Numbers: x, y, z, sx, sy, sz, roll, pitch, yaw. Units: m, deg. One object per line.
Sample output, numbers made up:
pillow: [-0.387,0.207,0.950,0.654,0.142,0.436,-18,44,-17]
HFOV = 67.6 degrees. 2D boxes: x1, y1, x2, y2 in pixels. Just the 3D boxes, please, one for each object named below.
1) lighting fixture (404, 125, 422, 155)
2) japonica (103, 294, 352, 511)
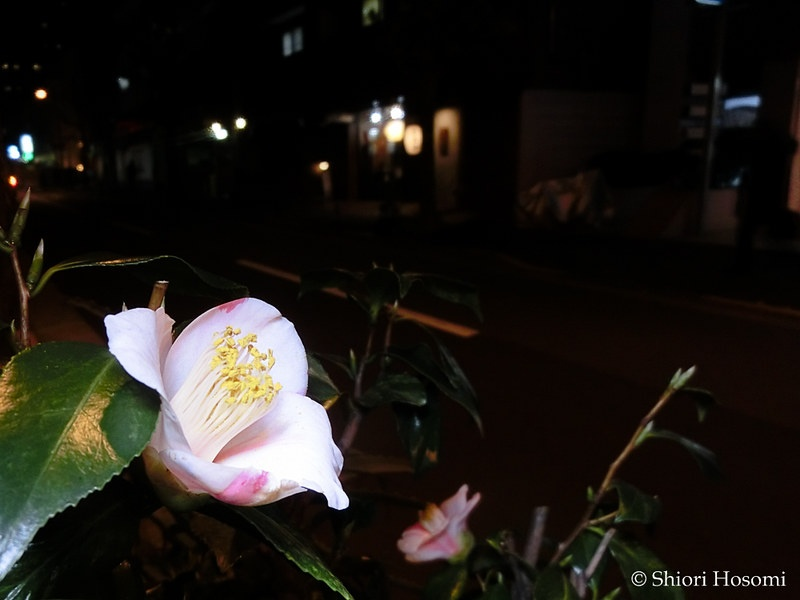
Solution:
lighting fixture: [0.057,-0.641,2.406,0.036,0.111,0.117,-1,44,-13]
japonica: [-0.124,0.088,0.449,0.071,0.170,0.164,-28,-27,26]
